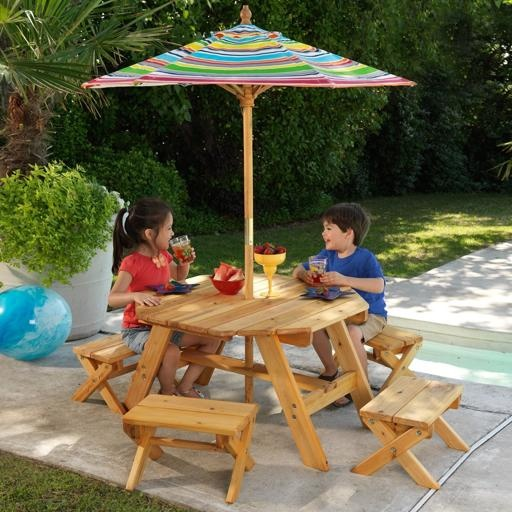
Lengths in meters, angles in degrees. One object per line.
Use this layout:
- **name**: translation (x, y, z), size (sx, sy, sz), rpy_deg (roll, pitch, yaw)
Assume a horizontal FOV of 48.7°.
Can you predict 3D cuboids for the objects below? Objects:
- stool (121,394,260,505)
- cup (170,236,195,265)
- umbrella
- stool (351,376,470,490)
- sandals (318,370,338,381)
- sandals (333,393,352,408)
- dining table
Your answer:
- **stool**: translation (-0.232, 0.672, 2.300), size (0.623, 0.286, 0.422), rpy_deg (4, 13, 19)
- **cup**: translation (-0.382, -0.026, 2.889), size (0.152, 0.135, 0.140), rpy_deg (-17, 4, 1)
- **umbrella**: translation (-0.019, -0.490, 2.742), size (0.965, 1.458, 1.132), rpy_deg (9, 16, 36)
- **stool**: translation (0.651, 0.679, 2.395), size (0.477, 0.269, 0.524), rpy_deg (5, 16, 26)
- **sandals**: translation (0.400, 0.667, 3.132), size (0.122, 0.033, 0.042), rpy_deg (0, 0, 17)
- **sandals**: translation (0.496, 0.823, 3.215), size (0.046, 0.045, 0.140), rpy_deg (4, 3, 38)
- **dining table**: translation (-0.081, 0.447, 2.710), size (1.064, 0.495, 0.961), rpy_deg (4, 10, 30)
